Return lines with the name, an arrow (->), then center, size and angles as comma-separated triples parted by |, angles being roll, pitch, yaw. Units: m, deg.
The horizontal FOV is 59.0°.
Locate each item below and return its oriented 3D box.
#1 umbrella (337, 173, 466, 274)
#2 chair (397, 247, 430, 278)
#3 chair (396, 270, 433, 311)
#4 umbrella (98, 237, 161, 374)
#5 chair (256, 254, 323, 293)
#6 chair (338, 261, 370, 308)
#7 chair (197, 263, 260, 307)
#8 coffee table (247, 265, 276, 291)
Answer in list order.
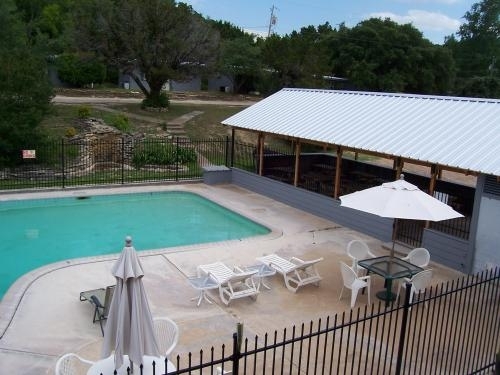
umbrella -> 3.942, 0.735, 11.859 | 2.326, 2.072, 2.436 | 6, 14, 6
chair -> 4.646, 2.019, 12.251 | 0.604, 0.844, 0.615 | 23, 6, 42
chair -> 4.000, 2.341, 10.987 | 0.792, 1.011, 0.823 | -11, -20, 42
umbrella -> -2.003, 1.856, 7.068 | 0.815, 2.174, 0.864 | -15, 21, -41
chair -> 1.084, 2.371, 12.456 | 0.837, 0.829, 2.016 | -4, 21, -37
chair -> 2.750, 2.572, 11.586 | 0.674, 1.145, 0.828 | -9, 14, -23
chair -> -0.538, 2.583, 11.555 | 0.763, 0.741, 1.817 | -2, 15, -27
coffee table -> 0.319, 2.416, 12.104 | 0.636, 0.439, 0.649 | -4, 15, -20
